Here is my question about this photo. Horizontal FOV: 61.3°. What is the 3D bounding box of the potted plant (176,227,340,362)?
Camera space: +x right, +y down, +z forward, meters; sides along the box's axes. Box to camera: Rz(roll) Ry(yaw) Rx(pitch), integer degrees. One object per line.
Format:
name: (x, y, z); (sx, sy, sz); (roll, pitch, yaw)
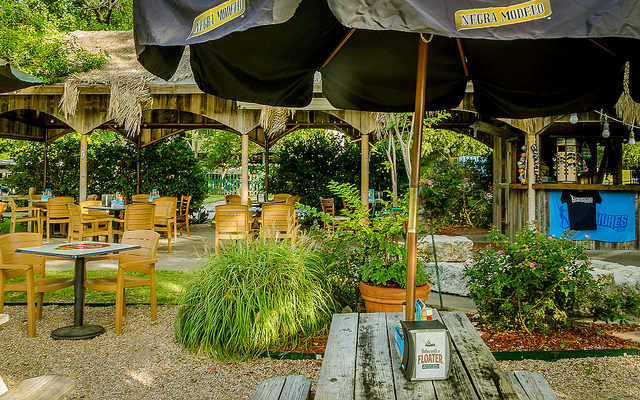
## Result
potted plant: (-0.883, 1.288, 7.300); (1.776, 1.314, 1.758); (-4, 3, -10)

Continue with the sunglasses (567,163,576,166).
sunglasses: (5.594, -0.786, 12.080); (0.165, 0.057, 0.021); (0, -1, 8)

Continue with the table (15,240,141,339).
table: (-3.375, 1.200, 7.820); (1.553, 1.293, 1.373); (0, 0, 17)

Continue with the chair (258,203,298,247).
chair: (-0.753, 0.463, 9.767); (0.712, 0.970, 0.716); (0, 0, 0)

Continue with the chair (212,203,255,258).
chair: (-1.704, 0.612, 10.594); (0.938, 1.015, 0.845); (2, -3, -27)

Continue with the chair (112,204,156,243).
chair: (-3.675, 0.421, 10.776); (0.656, 0.873, 0.636); (-2, 6, -41)

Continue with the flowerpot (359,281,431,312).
flowerpot: (0.917, 1.251, 6.965); (0.583, 0.348, 0.571); (1, -2, -43)

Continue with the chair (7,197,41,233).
chair: (-7.425, 0.383, 13.628); (0.834, 1.138, 0.898); (0, 1, -24)

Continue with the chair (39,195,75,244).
chair: (-5.719, 0.405, 11.850); (0.696, 0.910, 0.735); (-2, -6, 3)
